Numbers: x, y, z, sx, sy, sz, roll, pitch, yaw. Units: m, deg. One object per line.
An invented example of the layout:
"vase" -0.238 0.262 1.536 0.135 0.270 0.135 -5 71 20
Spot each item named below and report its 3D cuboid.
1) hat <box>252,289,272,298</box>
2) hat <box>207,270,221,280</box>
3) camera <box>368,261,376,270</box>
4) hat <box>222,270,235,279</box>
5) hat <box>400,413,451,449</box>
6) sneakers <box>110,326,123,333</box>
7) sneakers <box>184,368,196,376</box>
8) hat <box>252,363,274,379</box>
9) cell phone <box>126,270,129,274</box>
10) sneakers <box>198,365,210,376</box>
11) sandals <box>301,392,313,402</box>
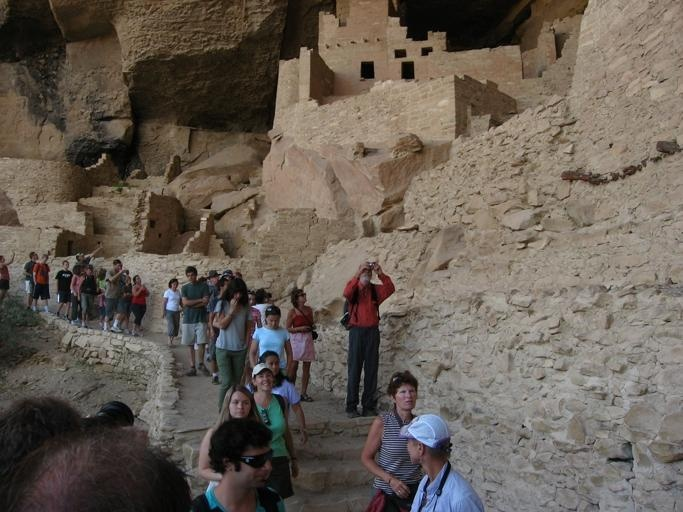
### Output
"hat" -1.058 0.507 8.362 0.212 0.155 0.289 0 1 1
"hat" -1.902 0.318 9.564 0.200 0.091 0.228 -16 -3 -28
"camera" 0.361 0.120 7.549 0.074 0.075 0.030 3 -2 -10
"hat" -1.627 0.273 9.302 0.096 0.121 0.131 8 36 21
"hat" 0.654 1.370 5.012 0.299 0.162 0.225 16 11 30
"sneakers" -4.341 1.423 12.373 0.281 0.128 0.099 7 5 5
"sneakers" -2.229 1.734 9.517 0.218 0.097 0.088 6 -3 -13
"hat" -0.744 1.088 6.026 0.170 0.135 0.125 2 -5 -7
"cell phone" -4.365 0.342 13.089 0.047 0.052 0.088 4 4 -21
"sneakers" -2.050 1.713 9.577 0.087 0.097 0.234 -12 20 -36
"sandals" -0.457 1.849 8.320 0.073 0.091 0.187 1 -5 -42
